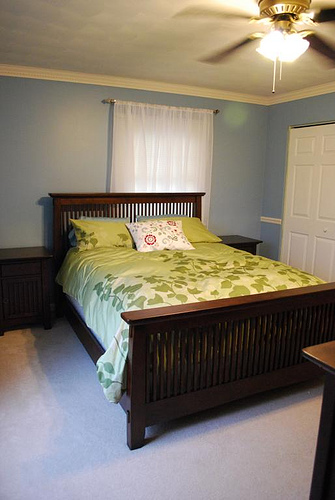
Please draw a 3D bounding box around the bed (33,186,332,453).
[{"bbox_3d":[0.223,0.079,2.867,2.294,1.403,2.378,-2,5,-32],"label":"bed"}]

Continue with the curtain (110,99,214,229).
[{"bbox_3d":[-0.102,-0.926,3.631,1.417,1.710,0.147,0,3,-31],"label":"curtain"}]
